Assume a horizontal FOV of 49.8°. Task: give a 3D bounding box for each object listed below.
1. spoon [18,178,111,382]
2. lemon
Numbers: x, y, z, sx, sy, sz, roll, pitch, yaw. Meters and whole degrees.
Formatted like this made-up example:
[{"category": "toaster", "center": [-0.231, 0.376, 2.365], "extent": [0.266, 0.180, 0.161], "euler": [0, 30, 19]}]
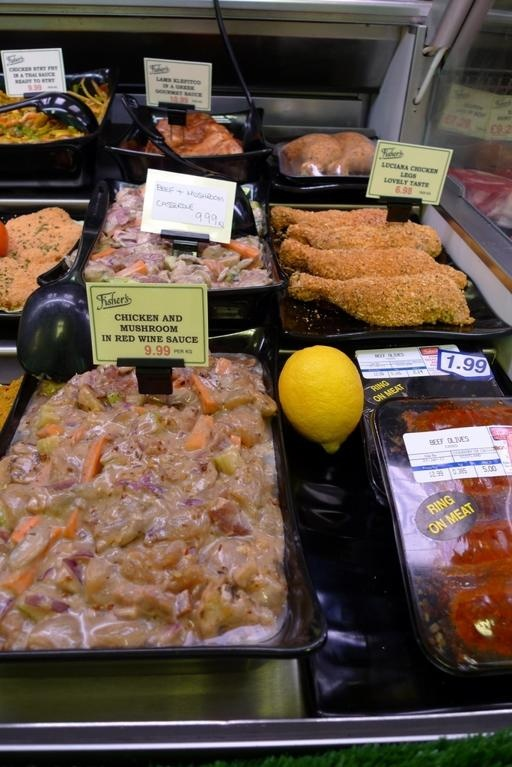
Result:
[{"category": "spoon", "center": [-0.387, -0.237, 1.245], "extent": [0.158, 0.120, 0.461], "euler": [11, 60, -1]}, {"category": "lemon", "center": [0.124, 0.026, 1.146], "extent": [0.193, 0.187, 0.249], "euler": [-7, 2, -30]}]
